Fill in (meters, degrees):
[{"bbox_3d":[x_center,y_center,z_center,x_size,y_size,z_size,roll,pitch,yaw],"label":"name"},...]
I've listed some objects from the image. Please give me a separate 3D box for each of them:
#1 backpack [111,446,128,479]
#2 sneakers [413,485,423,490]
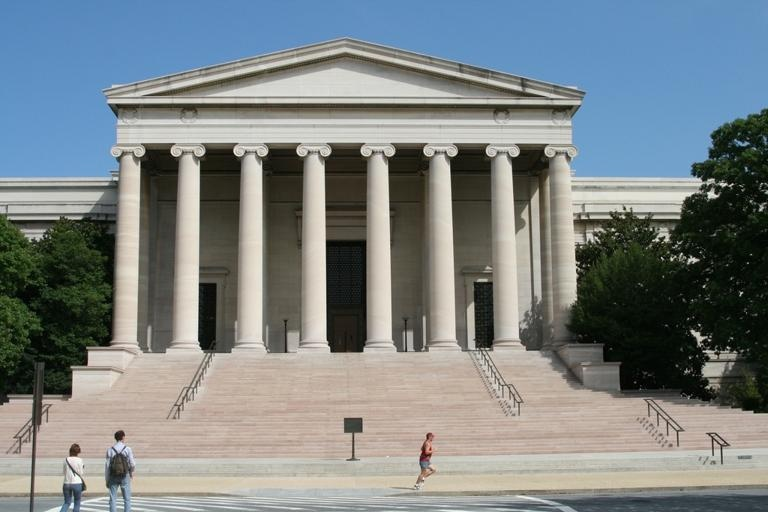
[{"bbox_3d":[-10.044,7.862,45.801,0.741,1.063,0.163,0,-5,4],"label":"backpack"},{"bbox_3d":[1.451,9.714,51.031,0.435,0.220,0.143,1,-3,-12],"label":"sneakers"}]
